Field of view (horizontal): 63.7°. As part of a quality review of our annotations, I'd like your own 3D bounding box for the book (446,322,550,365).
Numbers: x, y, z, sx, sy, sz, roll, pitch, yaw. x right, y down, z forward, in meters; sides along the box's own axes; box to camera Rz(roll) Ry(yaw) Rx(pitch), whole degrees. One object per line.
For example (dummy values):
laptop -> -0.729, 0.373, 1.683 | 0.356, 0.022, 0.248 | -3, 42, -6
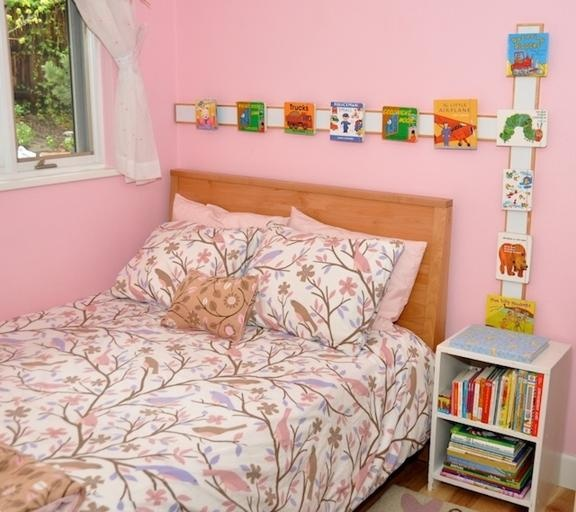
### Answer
book -> 0.864, 0.351, 1.908 | 0.311, 0.035, 0.292 | 12, 17, 38
